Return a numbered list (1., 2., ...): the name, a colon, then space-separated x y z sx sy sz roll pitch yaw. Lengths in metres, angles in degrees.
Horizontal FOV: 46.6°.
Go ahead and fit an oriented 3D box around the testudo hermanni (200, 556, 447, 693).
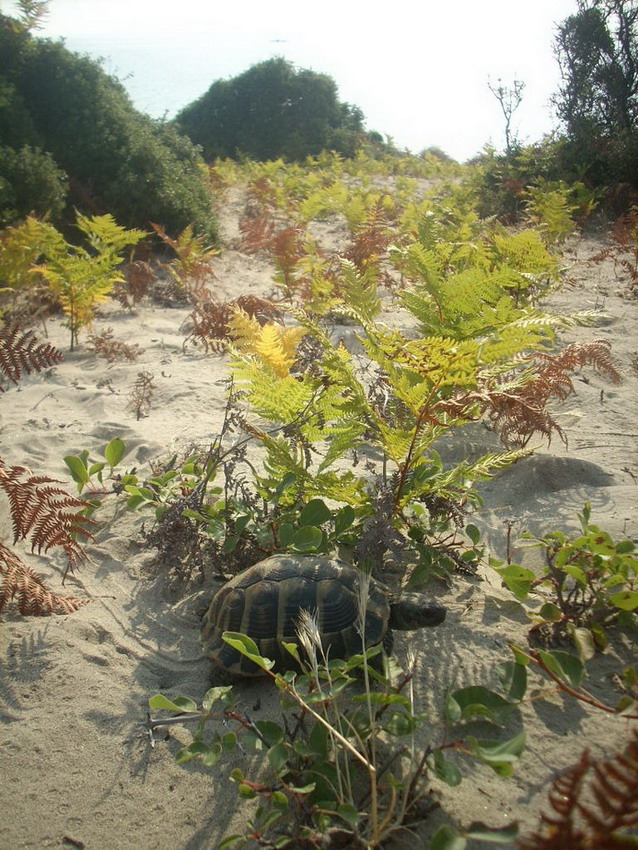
1. testudo hermanni: -0.013 0.752 3.020 1.026 0.377 0.555 -1 9 -2
